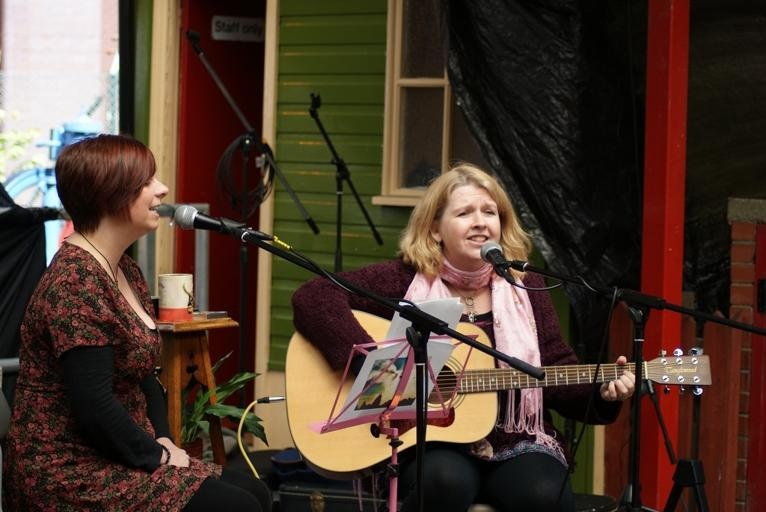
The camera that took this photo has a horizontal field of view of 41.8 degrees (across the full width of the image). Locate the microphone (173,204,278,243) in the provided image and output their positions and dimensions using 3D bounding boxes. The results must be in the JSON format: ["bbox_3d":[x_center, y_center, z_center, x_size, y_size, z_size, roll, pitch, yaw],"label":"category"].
[{"bbox_3d":[-0.950,-0.196,6.040,0.543,0.135,0.143,17,-33,2],"label":"microphone"}]

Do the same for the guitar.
[{"bbox_3d":[0.431,0.718,5.163,1.880,0.833,0.403,0,0,0],"label":"guitar"}]

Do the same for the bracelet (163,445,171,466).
[{"bbox_3d":[-1.005,0.955,4.748,0.015,0.067,0.048,-1,-22,13],"label":"bracelet"}]

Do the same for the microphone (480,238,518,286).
[{"bbox_3d":[0.566,0.030,4.980,0.187,0.210,0.591,0,0,5],"label":"microphone"}]
